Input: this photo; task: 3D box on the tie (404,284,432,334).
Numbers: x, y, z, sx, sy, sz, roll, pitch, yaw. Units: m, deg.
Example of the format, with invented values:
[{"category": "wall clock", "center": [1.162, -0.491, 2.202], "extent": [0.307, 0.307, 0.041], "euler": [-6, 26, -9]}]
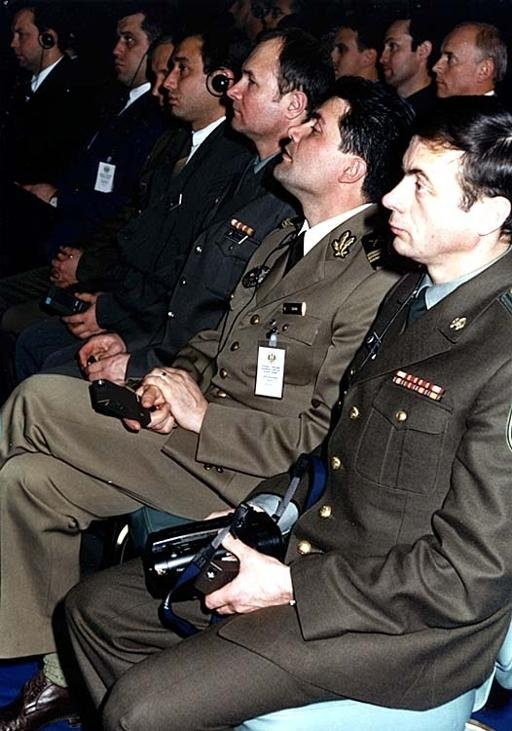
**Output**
[{"category": "tie", "center": [0.277, -0.097, 1.088], "extent": [0.030, 0.074, 0.056], "euler": [15, 9, -21]}]

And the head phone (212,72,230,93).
[{"category": "head phone", "center": [-0.152, -1.206, 2.667], "extent": [0.090, 0.096, 0.042], "euler": [1, 5, 11]}]

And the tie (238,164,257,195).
[{"category": "tie", "center": [-0.030, -0.707, 2.383], "extent": [0.061, 0.135, 0.103], "euler": [2, 3, -1]}]
